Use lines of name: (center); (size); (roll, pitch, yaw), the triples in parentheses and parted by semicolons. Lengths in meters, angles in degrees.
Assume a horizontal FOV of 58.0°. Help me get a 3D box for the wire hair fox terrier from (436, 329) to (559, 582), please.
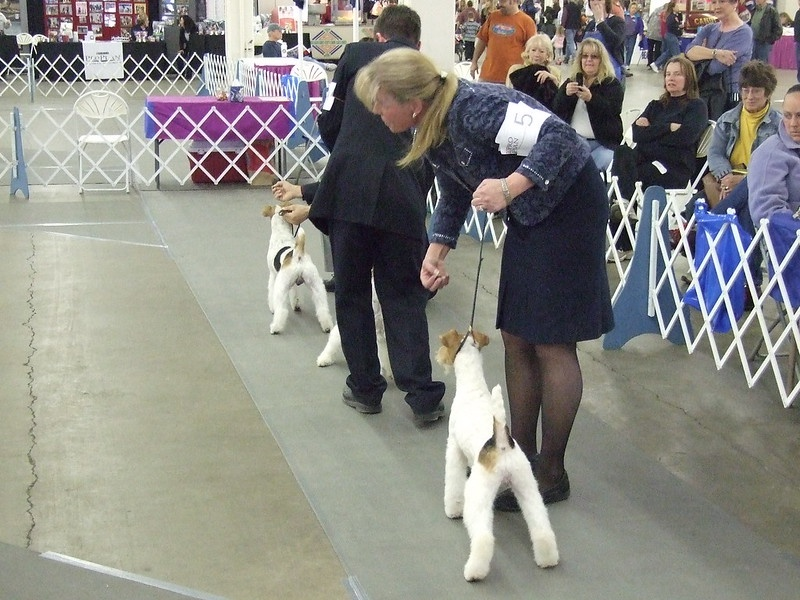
wire hair fox terrier: (0.339, 0.573, 3.012); (0.343, 0.783, 0.944); (-6, 15, -7)

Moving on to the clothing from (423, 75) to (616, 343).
clothing: (0.464, -0.319, 2.772); (0.673, 0.976, 0.313); (2, 16, 2)

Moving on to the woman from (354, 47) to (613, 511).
woman: (0.382, -0.039, 2.911); (0.892, 1.916, 0.830); (-8, 11, -7)

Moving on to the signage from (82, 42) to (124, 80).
signage: (-7.791, -6.217, 18.759); (1.008, 1.001, 0.895); (-8, 20, -29)

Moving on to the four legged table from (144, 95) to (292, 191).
four legged table: (-2.240, -1.965, 8.922); (1.770, 1.044, 0.613); (-3, 17, -15)

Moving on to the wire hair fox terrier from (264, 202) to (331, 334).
wire hair fox terrier: (-0.795, -0.228, 4.992); (0.359, 0.746, 1.043); (-5, 14, -21)

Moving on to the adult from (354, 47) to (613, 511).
adult: (0.384, -0.045, 2.906); (0.886, 1.957, 0.845); (-7, 11, -5)

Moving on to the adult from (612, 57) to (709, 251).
adult: (2.321, -1.293, 6.320); (0.674, 1.571, 0.574); (5, 3, 1)

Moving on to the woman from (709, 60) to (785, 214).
woman: (2.644, -1.280, 5.487); (0.479, 1.282, 0.697); (4, -21, 24)

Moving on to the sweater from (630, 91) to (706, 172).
sweater: (2.316, -1.410, 6.339); (0.407, 0.817, 0.567); (8, 5, -46)

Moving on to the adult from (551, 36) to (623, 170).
adult: (1.700, -1.481, 6.573); (0.500, 1.669, 0.511); (4, 12, 27)

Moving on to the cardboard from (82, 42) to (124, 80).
cardboard: (-7.794, -6.209, 18.729); (0.970, 0.997, 0.894); (-7, 19, -25)

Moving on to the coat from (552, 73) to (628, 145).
coat: (1.821, -1.722, 6.568); (0.465, 0.621, 0.512); (13, 7, -27)

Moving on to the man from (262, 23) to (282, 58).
man: (-2.491, -4.975, 13.821); (0.365, 0.597, 0.604); (-1, 18, -9)

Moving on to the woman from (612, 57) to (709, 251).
woman: (2.295, -1.270, 6.335); (0.721, 1.665, 0.633); (7, 1, 3)
